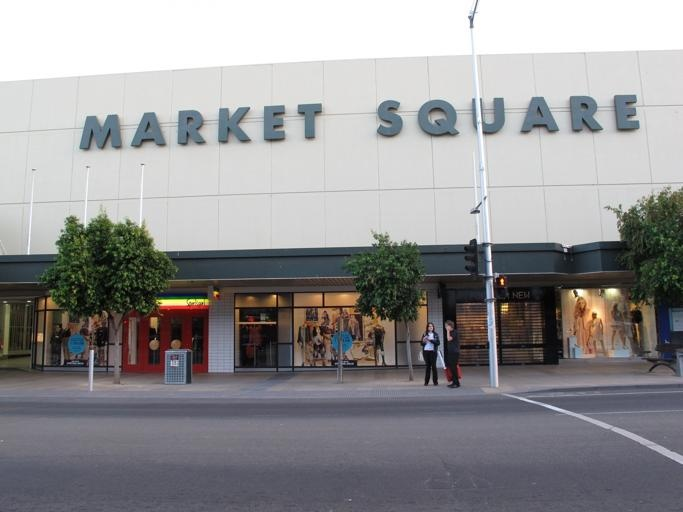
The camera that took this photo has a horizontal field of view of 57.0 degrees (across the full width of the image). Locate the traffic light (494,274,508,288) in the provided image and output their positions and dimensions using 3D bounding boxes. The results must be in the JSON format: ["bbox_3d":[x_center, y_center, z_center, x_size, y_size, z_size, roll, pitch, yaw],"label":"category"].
[{"bbox_3d":[5.230,0.848,20.545,0.521,0.581,0.297,0,1,9],"label":"traffic light"}]

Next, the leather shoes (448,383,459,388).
[{"bbox_3d":[3.644,4.186,20.260,0.275,0.126,0.138,2,-3,17],"label":"leather shoes"}]

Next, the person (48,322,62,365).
[{"bbox_3d":[-12.854,3.991,28.268,0.721,1.837,0.326,-6,-12,21],"label":"person"}]

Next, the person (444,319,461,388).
[{"bbox_3d":[3.692,3.226,20.792,0.466,2.202,1.189,-4,-11,10],"label":"person"}]

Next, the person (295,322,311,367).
[{"bbox_3d":[-1.586,3.845,27.347,0.632,1.825,0.217,-1,-11,-5],"label":"person"}]

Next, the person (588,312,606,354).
[{"bbox_3d":[12.333,3.721,30.324,0.762,2.042,0.229,-5,-11,17],"label":"person"}]
